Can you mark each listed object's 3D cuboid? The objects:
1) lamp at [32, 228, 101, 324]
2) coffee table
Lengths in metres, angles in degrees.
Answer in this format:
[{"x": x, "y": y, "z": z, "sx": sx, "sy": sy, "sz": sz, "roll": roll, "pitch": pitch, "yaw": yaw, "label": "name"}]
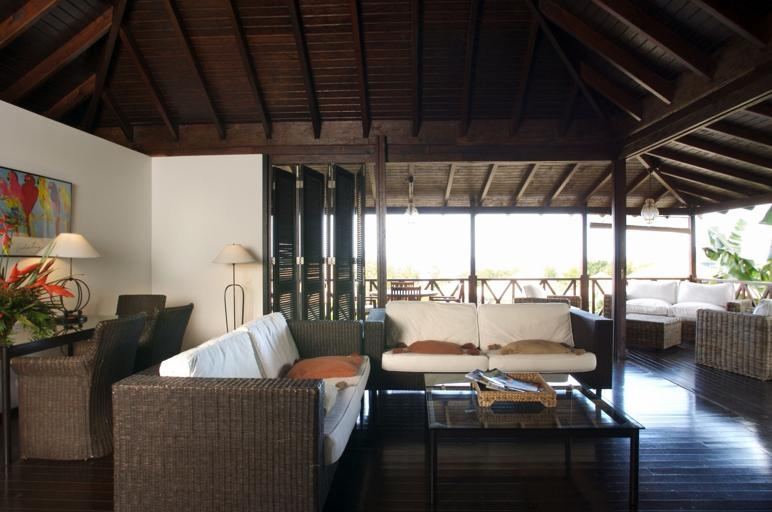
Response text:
[{"x": -3.440, "y": 0.251, "z": 6.352, "sx": 0.662, "sy": 0.985, "sz": 0.633, "roll": 2, "pitch": 5, "yaw": -13, "label": "lamp"}, {"x": 1.235, "y": 1.636, "z": 5.040, "sx": 1.762, "sy": 0.951, "sz": 0.648, "roll": 0, "pitch": 1, "yaw": 3, "label": "coffee table"}]
